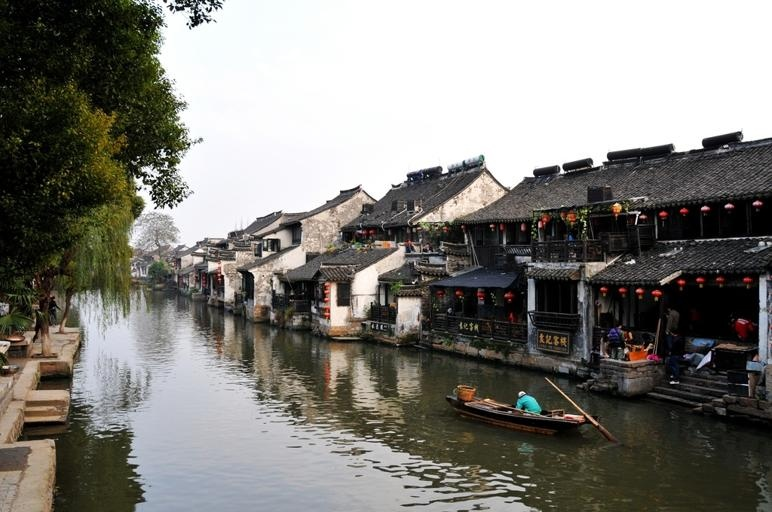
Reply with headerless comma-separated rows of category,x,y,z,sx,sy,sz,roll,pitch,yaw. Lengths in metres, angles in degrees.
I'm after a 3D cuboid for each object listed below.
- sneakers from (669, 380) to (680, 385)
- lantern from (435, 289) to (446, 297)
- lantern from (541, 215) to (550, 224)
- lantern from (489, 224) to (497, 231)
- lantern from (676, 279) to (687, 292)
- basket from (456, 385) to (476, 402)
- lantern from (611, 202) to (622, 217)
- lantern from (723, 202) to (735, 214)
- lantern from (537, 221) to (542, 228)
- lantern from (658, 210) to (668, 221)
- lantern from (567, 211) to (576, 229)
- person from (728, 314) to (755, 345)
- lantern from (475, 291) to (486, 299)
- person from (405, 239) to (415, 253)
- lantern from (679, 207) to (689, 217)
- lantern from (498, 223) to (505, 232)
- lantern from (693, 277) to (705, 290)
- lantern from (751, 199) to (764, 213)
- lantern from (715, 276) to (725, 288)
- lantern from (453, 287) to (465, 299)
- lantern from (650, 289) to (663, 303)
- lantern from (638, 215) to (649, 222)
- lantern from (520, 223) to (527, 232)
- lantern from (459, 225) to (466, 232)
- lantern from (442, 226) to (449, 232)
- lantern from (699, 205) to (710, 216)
sneakers,10.452,4.561,26.004,0.335,0.192,0.212,3,8,22
lantern,2.687,1.826,35.960,0.393,0.335,0.383,3,9,32
lantern,7.128,-1.691,32.018,0.355,0.319,0.313,-7,6,17
lantern,5.397,-1.507,36.443,0.288,0.245,0.283,-5,-1,39
lantern,11.004,1.044,26.708,0.333,0.442,0.319,-24,21,5
basket,2.620,4.678,24.605,0.590,0.411,0.660,8,-13,-41
lantern,9.403,-1.927,29.131,0.456,0.497,0.426,-16,26,-24
lantern,12.808,-1.833,26.671,0.455,0.436,0.433,-5,-4,3
lantern,7.281,-1.510,33.871,0.279,0.290,0.270,-5,8,-24
lantern,11.110,-1.682,28.758,0.387,0.367,0.374,-5,1,25
lantern,8.007,-1.656,30.862,0.370,0.655,0.762,2,7,16
person,12.728,2.612,25.617,0.627,0.839,0.927,1,7,5
lantern,4.376,1.846,33.905,0.529,0.507,0.527,-1,8,18
person,1.390,-0.592,41.981,0.535,0.580,1.333,0,7,2
lantern,11.587,-1.756,27.822,0.366,0.354,0.349,-2,5,-2
lantern,5.792,-1.496,36.003,0.328,0.339,0.315,0,5,21
lantern,11.492,0.945,26.313,0.314,0.401,0.298,-15,28,26
lantern,13.452,-1.843,25.965,0.453,0.446,0.434,-2,-5,15
lantern,11.854,0.855,25.458,0.299,0.341,0.511,3,8,25
lantern,3.521,1.865,35.213,0.521,0.528,0.504,-2,6,27
lantern,10.114,1.462,26.759,0.604,0.604,0.577,-3,9,16
lantern,10.582,-1.584,29.543,0.309,0.329,0.313,-4,-1,-20
lantern,6.590,-1.433,34.509,0.342,0.355,0.351,-2,2,-23
lantern,4.175,-1.557,39.055,0.302,0.279,0.291,-3,2,26
lantern,3.328,-1.585,40.466,0.145,0.320,0.487,-6,9,-38
lantern,12.116,-1.756,27.250,0.410,0.389,0.390,-5,9,33
